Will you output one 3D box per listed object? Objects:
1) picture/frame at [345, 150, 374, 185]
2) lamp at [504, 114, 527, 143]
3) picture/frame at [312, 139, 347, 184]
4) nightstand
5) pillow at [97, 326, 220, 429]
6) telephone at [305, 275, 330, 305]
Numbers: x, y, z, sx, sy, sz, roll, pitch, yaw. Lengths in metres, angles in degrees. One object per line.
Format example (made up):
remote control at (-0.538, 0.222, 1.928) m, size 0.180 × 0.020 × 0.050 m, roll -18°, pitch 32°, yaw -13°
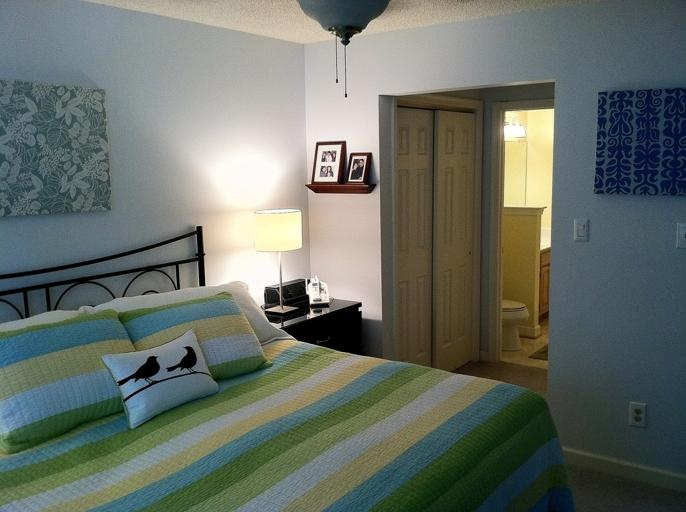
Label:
picture/frame at (0.144, -0.693, 4.004) m, size 0.262 × 0.335 × 0.035 m, roll 6°, pitch 2°, yaw 31°
lamp at (2.182, -1.612, 6.376) m, size 0.259 × 0.355 × 0.263 m, roll 4°, pitch 15°, yaw 19°
picture/frame at (-0.093, -0.767, 4.165) m, size 0.367 × 0.430 × 0.050 m, roll 5°, pitch 0°, yaw 30°
nightstand at (-0.240, 0.625, 4.000) m, size 0.704 × 0.580 × 0.392 m, roll -15°, pitch 30°, yaw -36°
pillow at (-0.909, 0.600, 2.465) m, size 0.146 × 0.269 × 0.392 m, roll -21°, pitch -7°, yaw 41°
telephone at (-0.201, 0.286, 4.081) m, size 0.144 × 0.241 × 0.085 m, roll -7°, pitch -16°, yaw -10°
